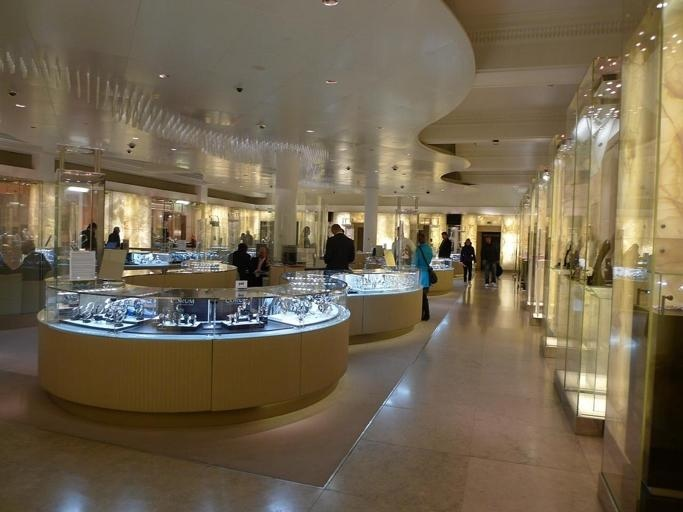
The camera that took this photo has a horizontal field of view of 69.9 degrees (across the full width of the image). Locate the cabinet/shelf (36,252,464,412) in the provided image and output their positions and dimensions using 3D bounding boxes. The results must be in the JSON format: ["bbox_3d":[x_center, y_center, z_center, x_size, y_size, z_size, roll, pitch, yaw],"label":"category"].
[{"bbox_3d":[-1.539,0.953,5.176,3.193,1.328,1.005,2,7,-3],"label":"cabinet/shelf"}]

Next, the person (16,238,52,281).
[{"bbox_3d":[-6.838,0.097,10.877,0.803,1.217,0.627,-5,6,-37],"label":"person"}]
